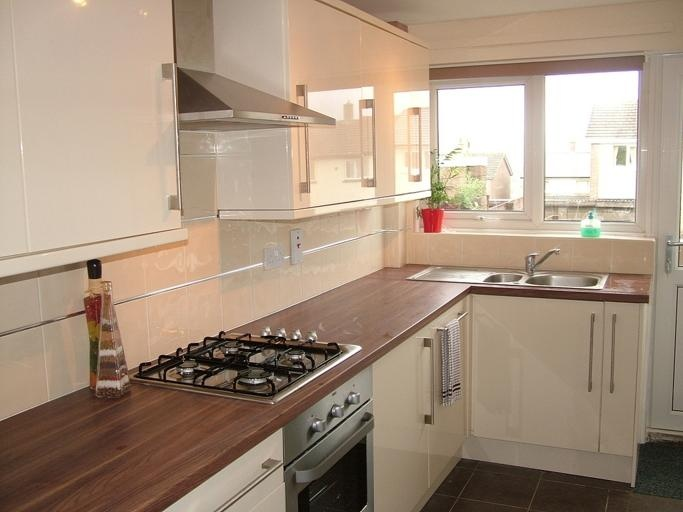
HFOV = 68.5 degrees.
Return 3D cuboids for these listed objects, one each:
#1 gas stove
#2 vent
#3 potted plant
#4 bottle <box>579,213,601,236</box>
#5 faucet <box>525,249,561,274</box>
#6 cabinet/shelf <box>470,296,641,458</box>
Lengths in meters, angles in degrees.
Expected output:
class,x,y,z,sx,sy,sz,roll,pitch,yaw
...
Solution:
class,x,y,z,sx,sy,sz,roll,pitch,yaw
gas stove,-0.343,0.384,1.926,0.650,0.064,0.667,7,12,27
vent,-0.355,-0.574,1.837,0.364,0.195,0.550,9,13,35
potted plant,0.880,-0.480,3.907,0.439,0.666,0.388,5,7,24
bottle,1.727,-0.210,3.485,0.169,0.236,0.096,0,-6,21
faucet,1.351,0.040,3.398,0.209,0.188,0.182,6,12,23
cabinet/shelf,1.315,0.703,3.029,1.080,0.976,0.535,0,1,16
